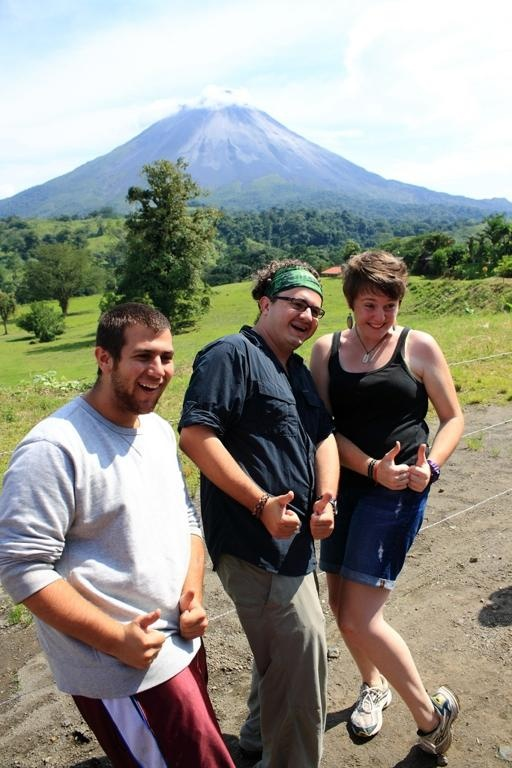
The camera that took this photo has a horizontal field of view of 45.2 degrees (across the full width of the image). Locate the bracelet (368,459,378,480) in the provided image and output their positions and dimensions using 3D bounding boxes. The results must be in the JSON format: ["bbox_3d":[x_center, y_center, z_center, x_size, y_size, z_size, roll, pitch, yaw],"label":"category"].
[{"bbox_3d":[0.552,0.413,2.965,0.029,0.077,0.070,8,29,21],"label":"bracelet"}]

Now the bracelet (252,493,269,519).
[{"bbox_3d":[0.019,0.481,2.452,0.035,0.086,0.073,40,7,24],"label":"bracelet"}]

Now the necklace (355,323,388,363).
[{"bbox_3d":[0.596,-0.210,3.151,0.194,0.215,0.018,11,-9,6],"label":"necklace"}]

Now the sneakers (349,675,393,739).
[{"bbox_3d":[0.603,1.667,3.203,0.124,0.135,0.313,4,9,24],"label":"sneakers"}]

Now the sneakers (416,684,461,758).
[{"bbox_3d":[0.887,1.585,2.899,0.190,0.388,0.136,-14,23,-38],"label":"sneakers"}]

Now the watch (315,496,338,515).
[{"bbox_3d":[0.302,0.523,2.673,0.095,0.037,0.088,-2,51,-51],"label":"watch"}]
